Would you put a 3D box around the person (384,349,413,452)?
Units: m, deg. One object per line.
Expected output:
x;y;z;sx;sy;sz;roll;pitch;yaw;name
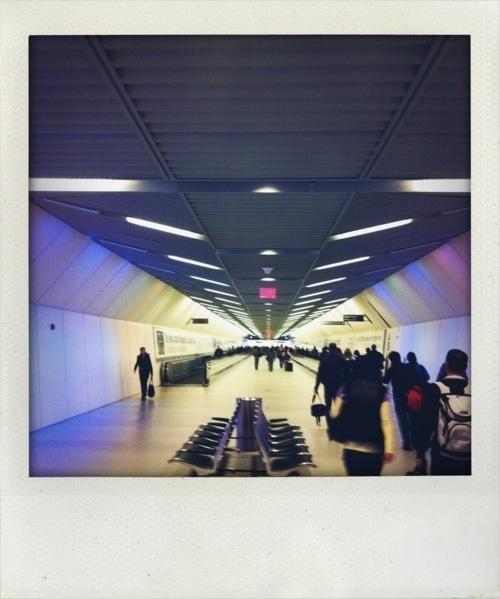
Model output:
2.043;1.384;6.338;0.328;1.276;0.805;0;-6;17;person
